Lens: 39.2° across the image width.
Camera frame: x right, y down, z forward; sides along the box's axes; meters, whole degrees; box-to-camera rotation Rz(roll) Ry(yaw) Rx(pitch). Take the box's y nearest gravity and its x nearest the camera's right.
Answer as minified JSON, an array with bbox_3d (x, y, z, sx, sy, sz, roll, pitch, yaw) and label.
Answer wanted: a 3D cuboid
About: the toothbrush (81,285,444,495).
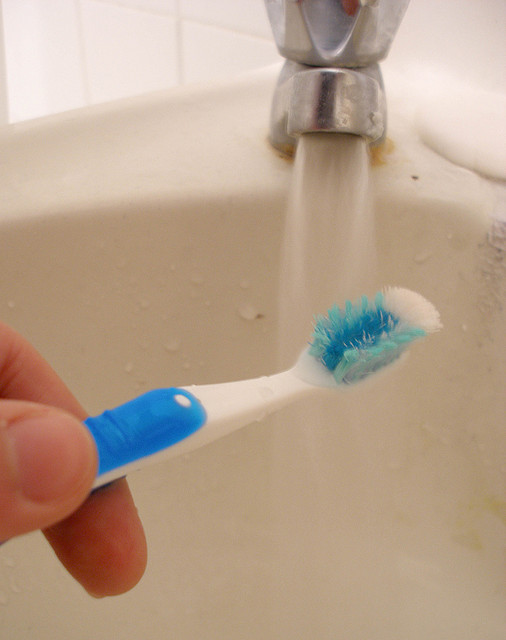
[{"bbox_3d":[0.010,0.045,0.419,0.244,0.040,0.046,-19,46,-17],"label":"toothbrush"}]
